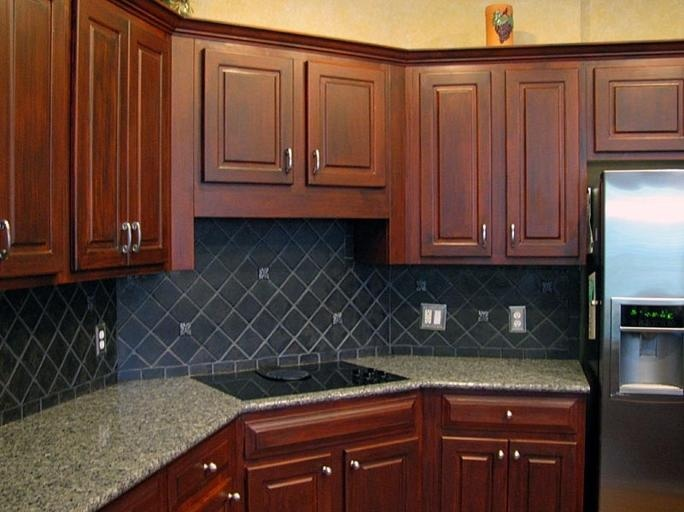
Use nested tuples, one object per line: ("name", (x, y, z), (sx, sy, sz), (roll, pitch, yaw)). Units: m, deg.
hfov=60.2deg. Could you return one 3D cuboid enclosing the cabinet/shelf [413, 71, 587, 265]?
("cabinet/shelf", (0.865, -0.496, 3.092), (0.846, 1.167, 0.521), (1, -2, -2))
